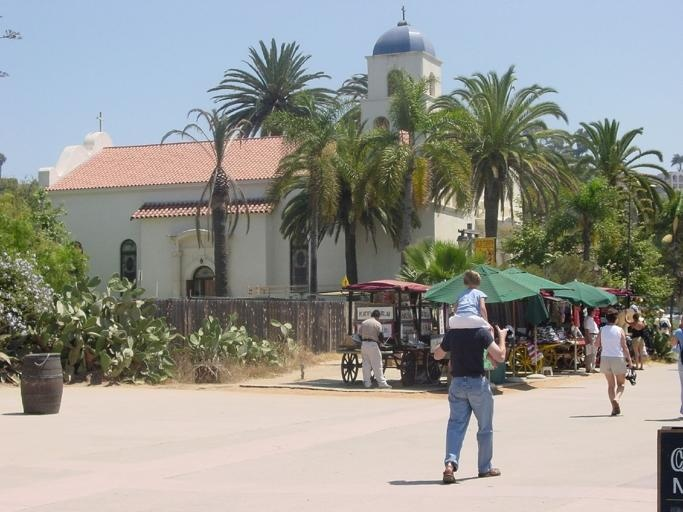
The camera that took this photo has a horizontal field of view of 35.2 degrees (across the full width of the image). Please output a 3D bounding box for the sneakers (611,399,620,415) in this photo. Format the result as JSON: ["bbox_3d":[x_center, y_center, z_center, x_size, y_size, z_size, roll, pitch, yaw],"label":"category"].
[{"bbox_3d":[5.877,3.272,22.988,0.123,0.418,0.156,-4,-10,5],"label":"sneakers"}]

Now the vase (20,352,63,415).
[{"bbox_3d":[-6.483,2.752,23.170,0.846,1.270,0.638,0,3,-21],"label":"vase"}]

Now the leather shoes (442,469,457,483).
[{"bbox_3d":[1.785,3.626,17.676,0.232,0.219,0.165,1,3,-12],"label":"leather shoes"}]

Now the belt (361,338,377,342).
[{"bbox_3d":[0.749,2.215,28.299,0.389,0.113,0.141,2,3,0],"label":"belt"}]

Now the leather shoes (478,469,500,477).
[{"bbox_3d":[2.465,3.637,17.944,0.259,0.130,0.157,-11,-1,19],"label":"leather shoes"}]
